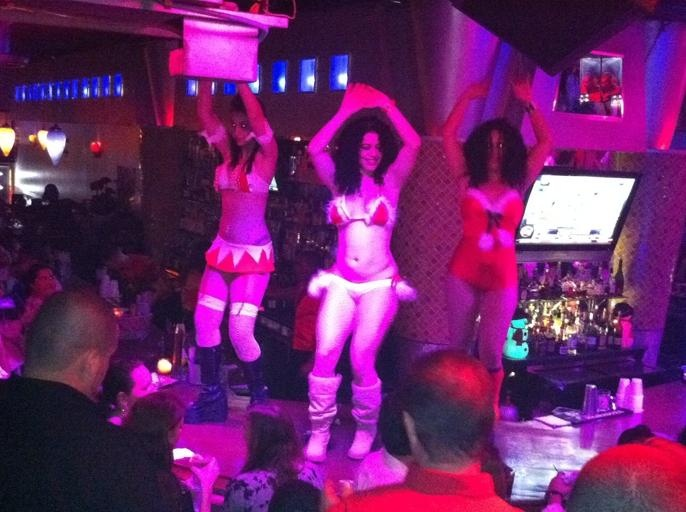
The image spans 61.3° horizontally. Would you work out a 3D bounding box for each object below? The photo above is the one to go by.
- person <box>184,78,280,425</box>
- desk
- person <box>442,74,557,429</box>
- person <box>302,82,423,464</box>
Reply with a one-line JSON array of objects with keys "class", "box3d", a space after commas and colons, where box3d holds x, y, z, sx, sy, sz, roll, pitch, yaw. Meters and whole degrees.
[{"class": "person", "box3d": [-0.785, 0.061, 4.045, 0.650, 2.344, 0.532, 7, 6, 2]}, {"class": "desk", "box3d": [2.083, 1.015, 5.258, 1.058, 0.713, 0.528, -2, 7, -18]}, {"class": "person", "box3d": [0.883, -0.154, 3.827, 0.603, 2.016, 0.344, 7, 6, 8]}, {"class": "person", "box3d": [0.088, 0.120, 3.796, 0.748, 2.447, 0.401, 6, 6, -5]}]
